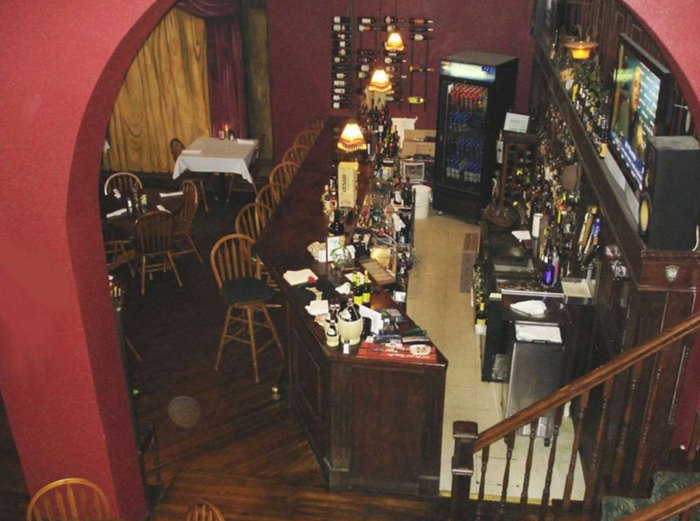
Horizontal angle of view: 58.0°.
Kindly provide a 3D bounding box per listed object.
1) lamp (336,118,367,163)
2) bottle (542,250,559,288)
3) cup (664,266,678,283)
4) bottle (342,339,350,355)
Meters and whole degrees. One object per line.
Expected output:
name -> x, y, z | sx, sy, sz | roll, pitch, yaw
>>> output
lamp -> 0.012, -1.453, 7.831 | 0.479, 0.548, 0.495 | -2, 34, -3
bottle -> 2.056, 0.093, 6.477 | 0.161, 0.474, 0.167 | -3, 27, 1
cup -> 2.032, 0.082, 4.005 | 0.083, 0.112, 0.050 | 1, 7, 15
bottle -> -0.037, 0.683, 4.991 | 0.055, 0.089, 0.137 | -1, 7, -1
